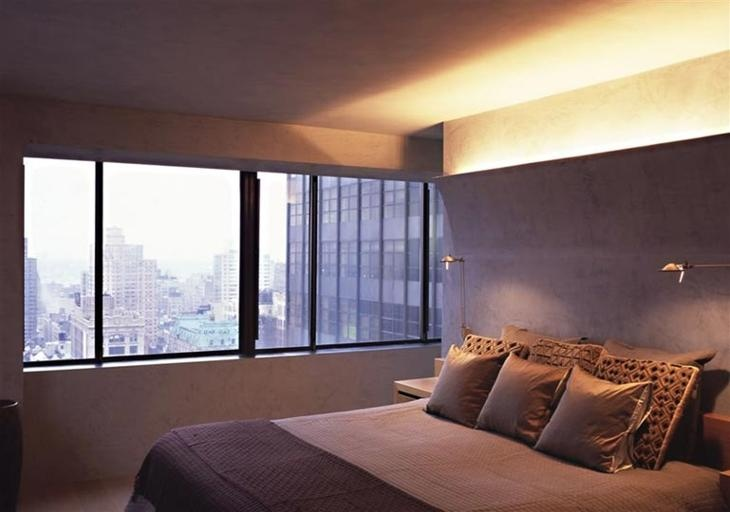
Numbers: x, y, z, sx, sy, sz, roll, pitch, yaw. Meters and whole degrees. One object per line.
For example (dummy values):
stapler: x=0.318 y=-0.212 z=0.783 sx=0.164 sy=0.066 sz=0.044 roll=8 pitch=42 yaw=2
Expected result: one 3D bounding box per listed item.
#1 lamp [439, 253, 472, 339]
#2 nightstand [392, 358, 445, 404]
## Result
lamp: x=0.864 y=0.391 z=5.396 sx=0.291 sy=0.805 sz=0.478 roll=2 pitch=6 yaw=9
nightstand: x=0.528 y=1.234 z=5.362 sx=0.382 sy=0.532 sz=0.559 roll=3 pitch=-6 yaw=-17
